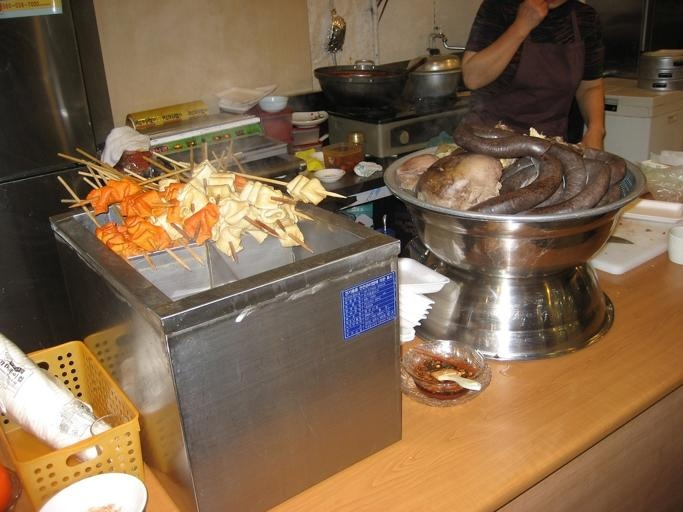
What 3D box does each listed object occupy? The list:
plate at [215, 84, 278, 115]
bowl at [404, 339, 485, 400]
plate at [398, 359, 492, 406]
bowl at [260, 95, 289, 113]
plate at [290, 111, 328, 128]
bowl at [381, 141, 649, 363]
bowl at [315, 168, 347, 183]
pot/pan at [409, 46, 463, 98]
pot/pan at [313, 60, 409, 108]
[{"bbox_3d":[-0.490,-0.813,2.575,0.258,0.077,0.254,16,38,33],"label":"plate"},{"bbox_3d":[0.223,0.242,1.065,0.136,0.044,0.132,-1,27,1],"label":"bowl"},{"bbox_3d":[0.210,0.258,1.047,0.117,0.023,0.107,-3,10,-3],"label":"plate"},{"bbox_3d":[-0.356,-0.780,2.523,0.108,0.044,0.102,-3,32,2],"label":"bowl"},{"bbox_3d":[-0.181,-0.744,2.729,0.150,0.039,0.103,-2,42,6],"label":"plate"},{"bbox_3d":[0.395,-0.073,1.225,0.538,0.281,0.488,-3,24,3],"label":"bowl"},{"bbox_3d":[-0.060,-0.388,2.395,0.125,0.044,0.135,-3,29,2],"label":"bowl"},{"bbox_3d":[0.513,-0.990,2.703,0.273,0.171,0.264,-6,29,10],"label":"pot/pan"},{"bbox_3d":[0.104,-0.927,2.722,0.462,0.192,0.573,-4,29,0],"label":"pot/pan"}]
